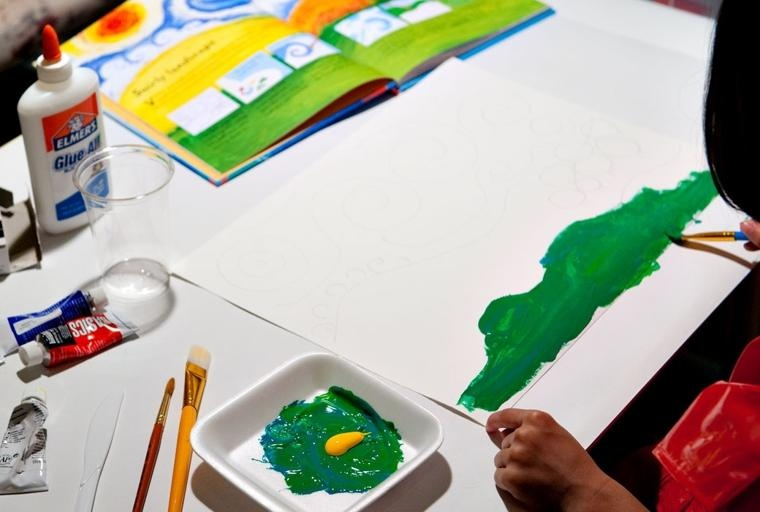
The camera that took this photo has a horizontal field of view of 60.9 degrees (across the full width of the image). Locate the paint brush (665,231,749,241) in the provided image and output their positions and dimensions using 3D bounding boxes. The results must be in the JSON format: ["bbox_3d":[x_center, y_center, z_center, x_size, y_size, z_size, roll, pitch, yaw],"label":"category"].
[{"bbox_3d":[0.522,-0.031,1.029,0.080,0.010,0.011,-2,68,4],"label":"paint brush"}]
